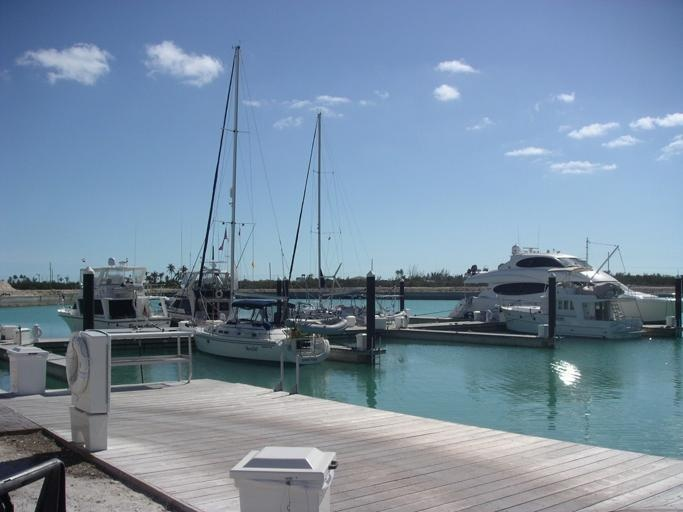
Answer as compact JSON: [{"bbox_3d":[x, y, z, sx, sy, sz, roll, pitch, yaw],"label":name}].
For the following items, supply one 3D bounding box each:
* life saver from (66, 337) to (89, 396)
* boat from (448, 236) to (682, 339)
[{"bbox_3d":[-4.394,1.812,8.878,0.190,1.043,0.766,1,-2,-39],"label":"life saver"},{"bbox_3d":[15.711,2.054,40.602,13.832,6.085,7.279,-2,-2,39],"label":"boat"}]
